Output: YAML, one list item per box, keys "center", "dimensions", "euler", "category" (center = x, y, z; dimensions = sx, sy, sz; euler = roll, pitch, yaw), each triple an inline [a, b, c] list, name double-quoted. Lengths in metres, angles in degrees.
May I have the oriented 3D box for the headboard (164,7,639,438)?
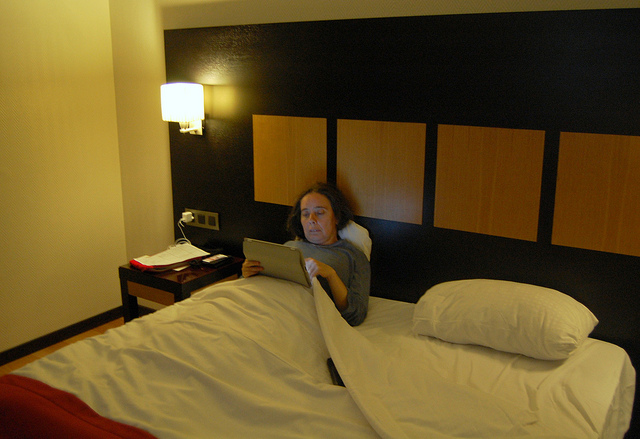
- center: [0.562, 0.000, 2.761]
  dimensions: [2.622, 1.960, 0.033]
  euler: [6, 16, 29]
  category: "headboard"

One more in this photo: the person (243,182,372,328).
- center: [-0.044, 0.228, 3.017]
  dimensions: [0.609, 0.482, 1.292]
  euler: [-12, 21, 14]
  category: "person"

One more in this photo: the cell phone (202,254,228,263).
- center: [-0.788, 0.288, 3.568]
  dimensions: [0.103, 0.036, 0.181]
  euler: [10, 9, 41]
  category: "cell phone"

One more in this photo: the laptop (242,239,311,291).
- center: [-0.237, 0.340, 2.958]
  dimensions: [0.410, 0.273, 0.293]
  euler: [10, 35, 34]
  category: "laptop"

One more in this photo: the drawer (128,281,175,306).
- center: [-1.202, 0.524, 3.416]
  dimensions: [0.230, 0.056, 0.216]
  euler: [23, -9, -29]
  category: "drawer"

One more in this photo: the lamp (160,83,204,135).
- center: [-0.920, -0.814, 3.551]
  dimensions: [0.339, 0.428, 0.345]
  euler: [2, 13, 9]
  category: "lamp"
